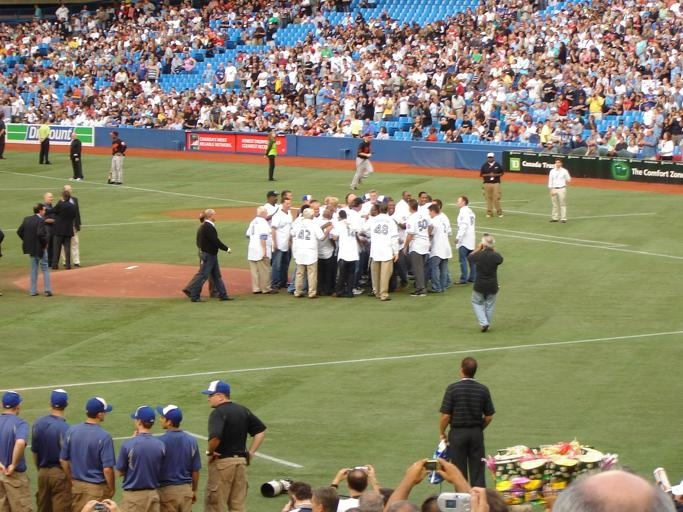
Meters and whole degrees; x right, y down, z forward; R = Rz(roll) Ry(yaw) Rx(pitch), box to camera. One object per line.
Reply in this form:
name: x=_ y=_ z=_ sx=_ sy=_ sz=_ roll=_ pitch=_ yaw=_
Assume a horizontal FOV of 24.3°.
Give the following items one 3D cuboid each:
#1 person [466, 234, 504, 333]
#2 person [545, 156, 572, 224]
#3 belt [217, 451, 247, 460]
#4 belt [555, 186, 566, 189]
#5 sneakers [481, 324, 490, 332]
person: x=3.885 y=0.790 z=43.232 sx=1.269 sy=2.532 sz=1.506 roll=4 pitch=11 yaw=9
person: x=7.312 y=-2.177 z=53.102 sx=0.733 sy=2.054 sz=0.944 roll=-1 pitch=1 yaw=-35
belt: x=-2.533 y=4.559 z=36.291 sx=0.740 sy=0.203 sz=0.089 roll=-2 pitch=4 yaw=-16
belt: x=7.275 y=-2.274 z=52.859 sx=0.284 sy=0.116 sz=0.184 roll=-2 pitch=4 yaw=-19
sneakers: x=3.897 y=1.981 z=43.170 sx=0.134 sy=0.120 sz=0.290 roll=2 pitch=-33 yaw=-17
